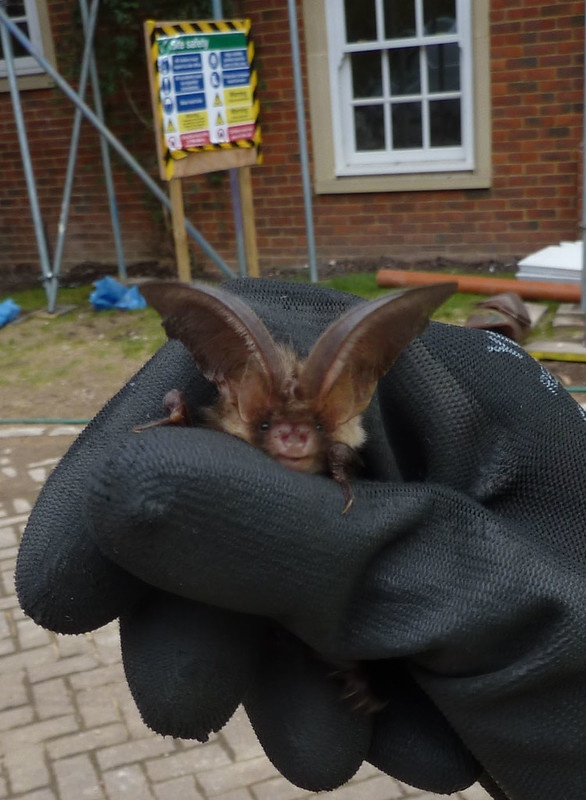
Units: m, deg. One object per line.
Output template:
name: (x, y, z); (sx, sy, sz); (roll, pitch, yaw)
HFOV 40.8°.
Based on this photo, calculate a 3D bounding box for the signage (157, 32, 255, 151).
signage: (-0.647, -2.313, 5.934); (0.843, 0.670, 0.726); (-9, 12, -7)

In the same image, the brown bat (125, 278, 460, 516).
brown bat: (-0.013, -0.013, 1.067); (0.395, 0.253, 0.173); (6, 14, -4)
